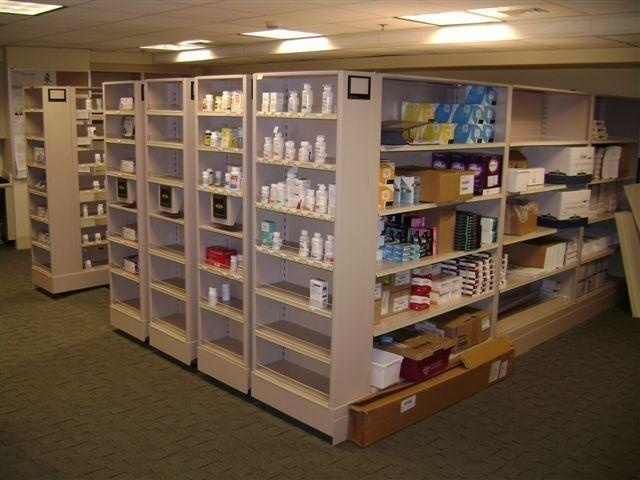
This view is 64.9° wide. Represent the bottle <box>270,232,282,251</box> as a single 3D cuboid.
[{"bbox_3d":[-0.392,0.004,4.554,0.098,0.154,0.180,-3,15,-5],"label":"bottle"}]

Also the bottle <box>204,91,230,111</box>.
[{"bbox_3d":[-1.012,-1.357,4.961,0.344,0.182,0.175,8,10,41],"label":"bottle"}]

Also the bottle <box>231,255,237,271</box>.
[{"bbox_3d":[-0.844,0.221,4.960,0.075,0.148,0.167,-5,16,-10],"label":"bottle"}]
